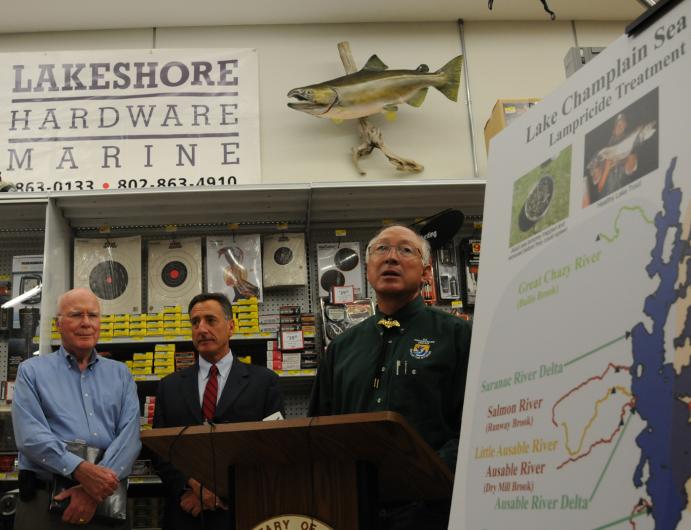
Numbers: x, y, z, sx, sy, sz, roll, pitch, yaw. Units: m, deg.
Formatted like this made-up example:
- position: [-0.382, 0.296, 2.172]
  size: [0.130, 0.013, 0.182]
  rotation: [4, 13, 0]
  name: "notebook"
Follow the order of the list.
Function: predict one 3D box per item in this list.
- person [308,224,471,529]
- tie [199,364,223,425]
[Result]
- position: [0.194, 0.439, 3.227]
  size: [0.595, 1.404, 0.396]
  rotation: [-20, -43, 26]
  name: "person"
- position: [-0.647, 0.646, 4.098]
  size: [0.091, 0.026, 0.413]
  rotation: [2, -50, -13]
  name: "tie"
